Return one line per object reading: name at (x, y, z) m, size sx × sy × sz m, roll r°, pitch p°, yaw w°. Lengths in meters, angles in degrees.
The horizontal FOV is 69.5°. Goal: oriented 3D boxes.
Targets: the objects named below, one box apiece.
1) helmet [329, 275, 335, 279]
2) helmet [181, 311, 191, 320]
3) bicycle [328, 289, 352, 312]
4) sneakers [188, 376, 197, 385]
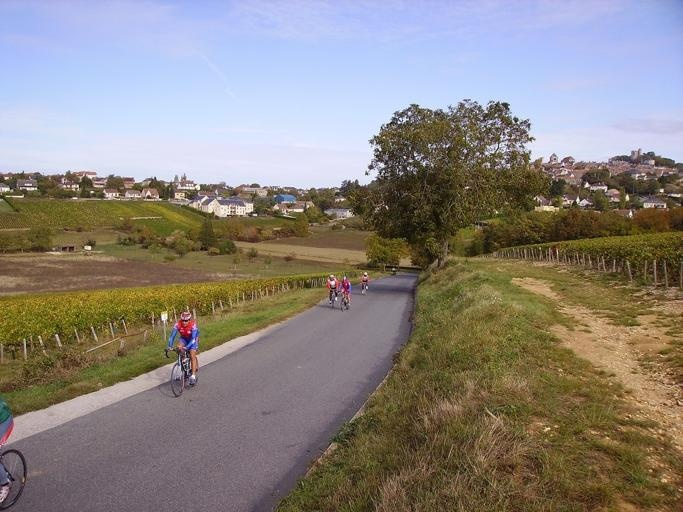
helmet at (-0.555, 1.186, 28.834) m, size 0.227 × 0.132 × 0.220 m, roll 0°, pitch -2°, yaw -37°
helmet at (-4.641, 1.763, 14.682) m, size 0.237 × 0.329 × 0.316 m, roll 4°, pitch 11°, yaw 7°
bicycle at (-0.065, 2.644, 29.322) m, size 0.691 × 1.197 × 1.883 m, roll -3°, pitch 1°, yaw 11°
sneakers at (-4.604, 3.830, 15.278) m, size 0.215 × 0.129 × 0.326 m, roll 3°, pitch 4°, yaw 6°
